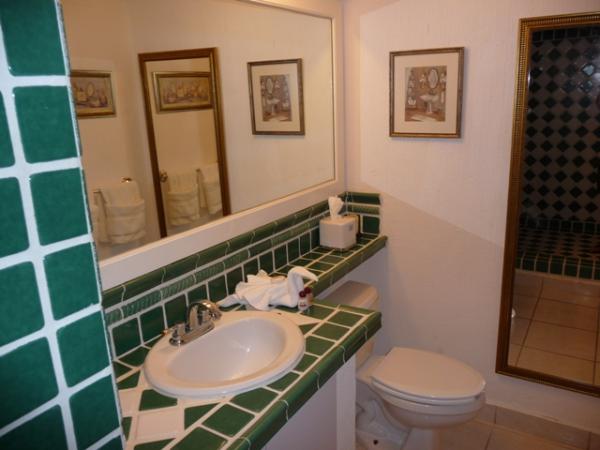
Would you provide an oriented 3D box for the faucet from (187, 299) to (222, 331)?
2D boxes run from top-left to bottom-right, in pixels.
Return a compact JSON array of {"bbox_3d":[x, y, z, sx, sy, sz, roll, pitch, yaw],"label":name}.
[{"bbox_3d":[-0.365,0.344,1.748,0.051,0.141,0.118,-18,36,-41],"label":"faucet"}]

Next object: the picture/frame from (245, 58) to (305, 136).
[{"bbox_3d":[-0.137,-0.639,2.270,0.017,0.399,0.333,16,30,41],"label":"picture/frame"}]

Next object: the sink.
[{"bbox_3d":[-0.257,0.513,1.663,0.556,0.172,0.392,-11,21,-27],"label":"sink"}]

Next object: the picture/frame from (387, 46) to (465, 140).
[{"bbox_3d":[0.691,-0.735,2.499,0.449,0.566,0.021,6,18,28],"label":"picture/frame"}]

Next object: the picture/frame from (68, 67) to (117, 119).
[{"bbox_3d":[-0.668,-0.424,1.483,0.008,0.140,0.186,8,17,21],"label":"picture/frame"}]

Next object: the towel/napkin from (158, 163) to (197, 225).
[{"bbox_3d":[-0.484,-0.118,1.850,0.060,0.199,0.143,9,15,37],"label":"towel/napkin"}]

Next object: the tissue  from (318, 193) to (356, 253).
[{"bbox_3d":[0.251,-0.052,2.686,0.240,0.493,0.283,1,12,9],"label":"tissue "}]

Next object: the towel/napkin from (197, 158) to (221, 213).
[{"bbox_3d":[-0.382,-0.155,1.977,0.052,0.179,0.130,6,15,27],"label":"towel/napkin"}]

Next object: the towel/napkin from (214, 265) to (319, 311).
[{"bbox_3d":[-0.139,0.292,2.064,0.272,0.133,0.240,5,11,13],"label":"towel/napkin"}]

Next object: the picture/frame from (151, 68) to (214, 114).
[{"bbox_3d":[-0.448,-0.522,1.798,0.288,0.149,0.011,6,15,26],"label":"picture/frame"}]

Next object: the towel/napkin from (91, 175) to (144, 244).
[{"bbox_3d":[-0.660,-0.038,1.689,0.204,0.216,0.164,-9,8,41],"label":"towel/napkin"}]
